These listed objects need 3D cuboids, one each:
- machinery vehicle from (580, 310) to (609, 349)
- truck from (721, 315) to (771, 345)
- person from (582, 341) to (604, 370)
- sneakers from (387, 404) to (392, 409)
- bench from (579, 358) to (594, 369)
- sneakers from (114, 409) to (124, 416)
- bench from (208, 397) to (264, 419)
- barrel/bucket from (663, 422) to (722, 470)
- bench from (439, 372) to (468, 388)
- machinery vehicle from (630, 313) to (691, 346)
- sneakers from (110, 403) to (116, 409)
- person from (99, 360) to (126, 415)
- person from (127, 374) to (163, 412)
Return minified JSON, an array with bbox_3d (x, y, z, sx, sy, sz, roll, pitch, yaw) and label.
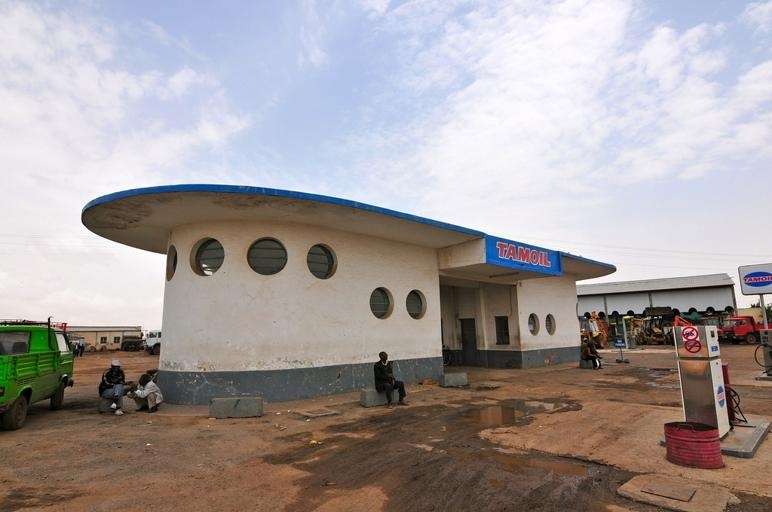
[{"bbox_3d":[16.930,5.848,33.738,4.591,2.668,1.382,13,-19,-40],"label":"machinery vehicle"},{"bbox_3d":[29.235,6.293,34.508,2.807,2.274,1.583,-1,-1,22],"label":"truck"},{"bbox_3d":[10.040,4.904,20.380,0.825,1.291,1.030,-1,-1,24],"label":"person"},{"bbox_3d":[0.118,4.515,12.392,0.176,0.051,0.346,0,-2,-4],"label":"sneakers"},{"bbox_3d":[9.854,5.362,20.511,0.532,0.293,0.468,4,-6,-36],"label":"bench"},{"bbox_3d":[-7.563,4.491,11.818,0.285,0.119,0.133,0,-2,27],"label":"sneakers"},{"bbox_3d":[-4.103,4.185,11.333,1.360,0.523,0.271,0,-1,-8],"label":"bench"},{"bbox_3d":[5.910,3.721,8.057,0.520,0.697,0.852,22,-24,-15],"label":"barrel/bucket"},{"bbox_3d":[2.614,4.686,15.507,1.142,0.441,0.534,1,-2,-36],"label":"bench"},{"bbox_3d":[25.731,7.201,40.254,3.163,2.746,4.723,-1,-2,29],"label":"machinery vehicle"},{"bbox_3d":[-7.891,4.374,12.023,0.134,0.151,0.114,-42,15,8],"label":"sneakers"},{"bbox_3d":[-8.060,3.883,12.287,0.645,1.560,1.586,0,-1,-32],"label":"person"},{"bbox_3d":[-7.029,4.054,12.274,1.000,1.064,0.545,-1,-1,28],"label":"person"}]
